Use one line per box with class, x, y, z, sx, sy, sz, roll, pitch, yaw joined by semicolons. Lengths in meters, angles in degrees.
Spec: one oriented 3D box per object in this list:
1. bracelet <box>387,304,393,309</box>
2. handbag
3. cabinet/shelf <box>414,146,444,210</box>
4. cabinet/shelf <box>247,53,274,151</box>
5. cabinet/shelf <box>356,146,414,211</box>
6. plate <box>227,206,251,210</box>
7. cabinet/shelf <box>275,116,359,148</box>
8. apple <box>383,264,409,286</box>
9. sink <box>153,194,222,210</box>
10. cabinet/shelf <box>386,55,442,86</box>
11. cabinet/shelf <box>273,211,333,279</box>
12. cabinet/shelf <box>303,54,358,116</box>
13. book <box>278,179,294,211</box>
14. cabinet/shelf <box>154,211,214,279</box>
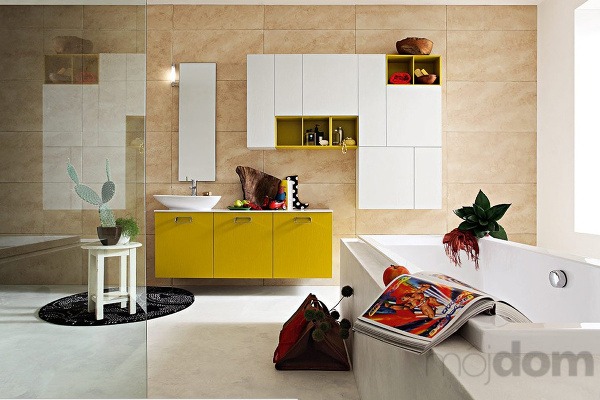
bracelet;0.443;0.522;2.504;0.022;0.013;0.031;1;-2;19
handbag;0.078;0.916;3.472;0.448;0.234;0.654;0;-6;-1
cabinet/shelf;1.243;-0.216;4.922;0.331;0.625;0.565;0;2;22
cabinet/shelf;-0.358;-0.909;4.724;0.247;0.840;0.114;-1;2;-9
cabinet/shelf;0.807;-0.211;4.724;0.573;0.636;0.212;0;-1;-1
plate;-0.551;0.068;4.680;0.205;0.039;0.176;-1;2;3
cabinet/shelf;0.157;-0.636;4.835;0.773;0.292;0.279;-1;2;2
apple;0.519;0.398;2.800;0.114;0.132;0.114;-7;1;-10
sink;-1.029;0.028;4.656;0.554;0.134;0.199;0;2;7
cabinet/shelf;1.083;-1.222;4.815;0.355;0.207;0.123;0;-2;2
cabinet/shelf;0.032;0.394;4.811;0.668;0.672;0.541;0;-3;0
cabinet/shelf;0.280;-1.078;4.682;0.550;0.541;0.265;0;2;3
book;-0.137;-0.043;4.848;0.131;0.406;0.287;1;-2;2
cabinet/shelf;-0.952;0.402;4.810;0.620;0.699;0.547;0;-2;-4
